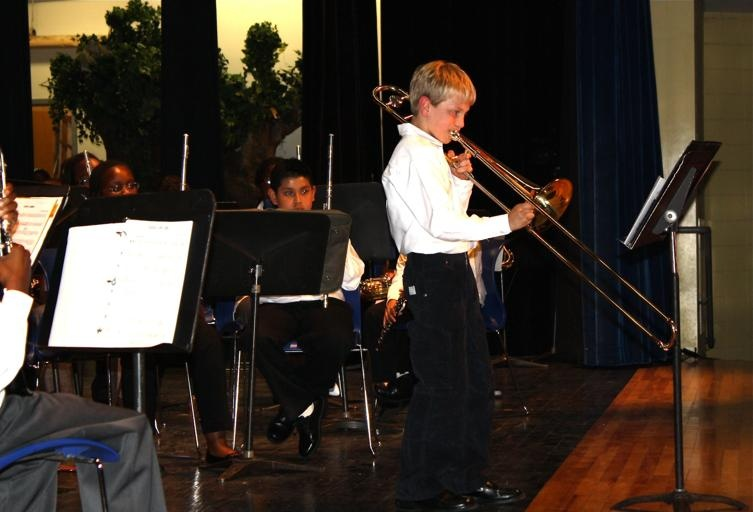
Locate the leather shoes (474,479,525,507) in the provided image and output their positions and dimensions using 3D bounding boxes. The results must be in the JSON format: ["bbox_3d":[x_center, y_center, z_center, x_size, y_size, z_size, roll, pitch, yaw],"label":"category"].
[{"bbox_3d":[0.564,1.092,3.919,0.183,0.063,0.118,-4,-2,10],"label":"leather shoes"}]

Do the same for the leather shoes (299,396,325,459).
[{"bbox_3d":[-0.353,0.899,4.532,0.115,0.314,0.142,11,7,38],"label":"leather shoes"}]

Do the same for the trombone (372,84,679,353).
[{"bbox_3d":[0.702,-0.299,4.070,0.296,0.320,1.948,32,13,-19],"label":"trombone"}]

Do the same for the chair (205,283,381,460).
[{"bbox_3d":[-0.456,0.621,4.786,0.635,0.910,0.816,0,-3,-27],"label":"chair"}]

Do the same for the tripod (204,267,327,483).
[{"bbox_3d":[-0.572,0.569,4.336,0.503,1.090,0.293,-3,6,-5],"label":"tripod"}]

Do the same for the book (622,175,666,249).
[{"bbox_3d":[1.216,-0.197,3.849,0.178,0.337,0.332,0,6,16],"label":"book"}]

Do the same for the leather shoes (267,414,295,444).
[{"bbox_3d":[-0.510,0.902,4.604,0.088,0.095,0.225,36,24,-1],"label":"leather shoes"}]

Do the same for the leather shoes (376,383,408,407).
[{"bbox_3d":[0.097,0.867,5.378,0.162,0.075,0.188,2,6,8],"label":"leather shoes"}]

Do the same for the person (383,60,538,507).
[{"bbox_3d":[0.325,0.123,3.892,0.551,2.038,0.338,-2,6,0],"label":"person"}]
